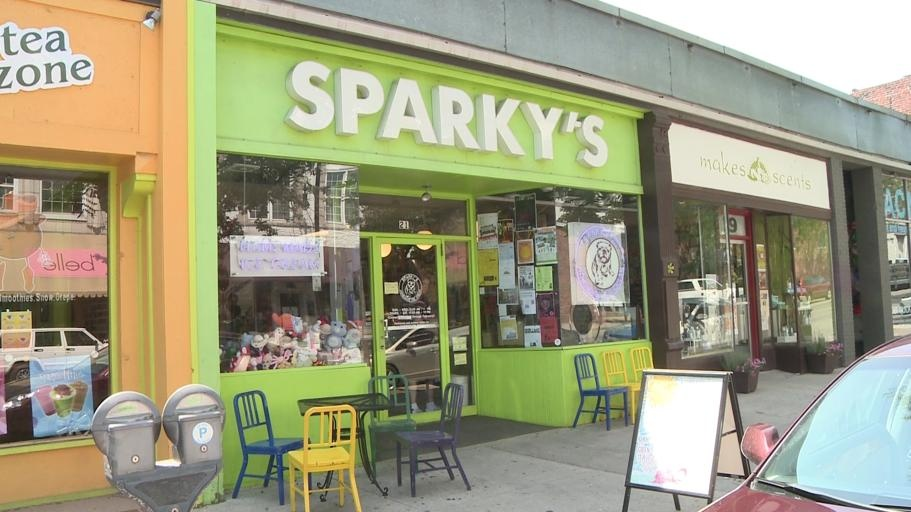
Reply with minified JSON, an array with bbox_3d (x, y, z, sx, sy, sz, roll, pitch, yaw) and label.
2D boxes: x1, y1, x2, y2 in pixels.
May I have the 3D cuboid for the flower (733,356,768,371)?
[{"bbox_3d":[5.862,2.142,15.048,0.619,0.217,0.532,-2,-5,-12],"label":"flower"}]

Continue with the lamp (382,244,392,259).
[{"bbox_3d":[-1.188,-0.093,13.104,0.215,0.209,0.051,-7,6,-41],"label":"lamp"}]

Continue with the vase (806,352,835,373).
[{"bbox_3d":[8.048,2.329,16.747,0.470,0.403,0.555,-3,-5,44],"label":"vase"}]

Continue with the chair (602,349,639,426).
[{"bbox_3d":[2.818,2.275,13.288,0.633,0.996,0.607,-9,11,-9],"label":"chair"}]

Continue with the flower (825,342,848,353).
[{"bbox_3d":[8.401,2.010,16.854,0.305,0.216,0.299,-3,-2,-4],"label":"flower"}]

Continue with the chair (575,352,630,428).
[{"bbox_3d":[2.462,2.286,13.008,0.997,1.169,0.974,0,-5,-10],"label":"chair"}]

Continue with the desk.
[{"bbox_3d":[-1.492,2.620,10.555,1.357,1.072,1.321,0,-5,-28],"label":"desk"}]
